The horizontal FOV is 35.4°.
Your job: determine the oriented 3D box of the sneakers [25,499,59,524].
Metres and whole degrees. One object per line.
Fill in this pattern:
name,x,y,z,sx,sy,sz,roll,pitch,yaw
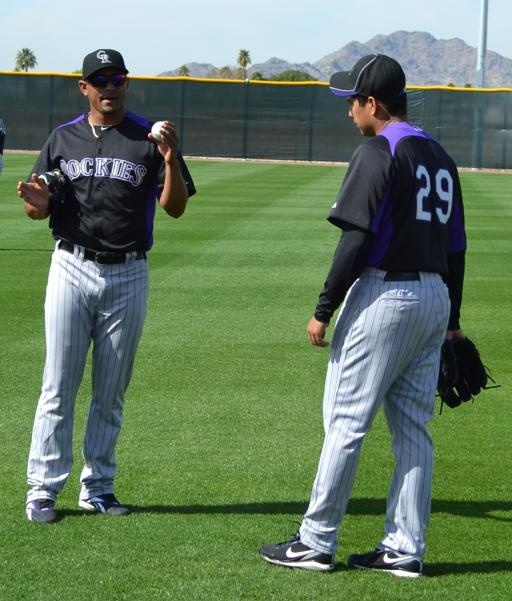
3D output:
sneakers,-0.780,0.770,2.923,0.109,0.068,0.100,-2,12,-18

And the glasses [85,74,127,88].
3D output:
glasses,-0.561,-0.840,3.049,0.154,0.059,0.074,-3,12,-21

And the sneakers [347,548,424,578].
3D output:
sneakers,0.430,0.856,2.653,0.235,0.104,0.092,6,-4,22

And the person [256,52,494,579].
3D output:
person,0.463,0.146,2.664,0.841,1.451,0.435,-9,15,-43

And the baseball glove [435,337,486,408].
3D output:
baseball glove,0.745,0.290,3.030,0.083,0.276,0.196,5,30,43

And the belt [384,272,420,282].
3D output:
belt,0.461,-0.077,2.533,0.117,0.030,0.017,0,11,-12

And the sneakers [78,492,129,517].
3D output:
sneakers,-0.585,0.765,3.038,0.194,0.085,0.075,2,2,27

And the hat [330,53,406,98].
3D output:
hat,0.368,-0.729,2.663,0.214,0.124,0.154,8,43,19

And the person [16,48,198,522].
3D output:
person,-0.574,-0.077,3.066,0.628,1.746,0.538,-2,11,-17

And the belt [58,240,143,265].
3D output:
belt,-0.592,-0.188,3.061,0.334,0.081,0.143,0,11,-10

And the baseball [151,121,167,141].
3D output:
baseball,-0.344,-0.631,2.938,0.065,0.083,0.066,-5,18,-20
